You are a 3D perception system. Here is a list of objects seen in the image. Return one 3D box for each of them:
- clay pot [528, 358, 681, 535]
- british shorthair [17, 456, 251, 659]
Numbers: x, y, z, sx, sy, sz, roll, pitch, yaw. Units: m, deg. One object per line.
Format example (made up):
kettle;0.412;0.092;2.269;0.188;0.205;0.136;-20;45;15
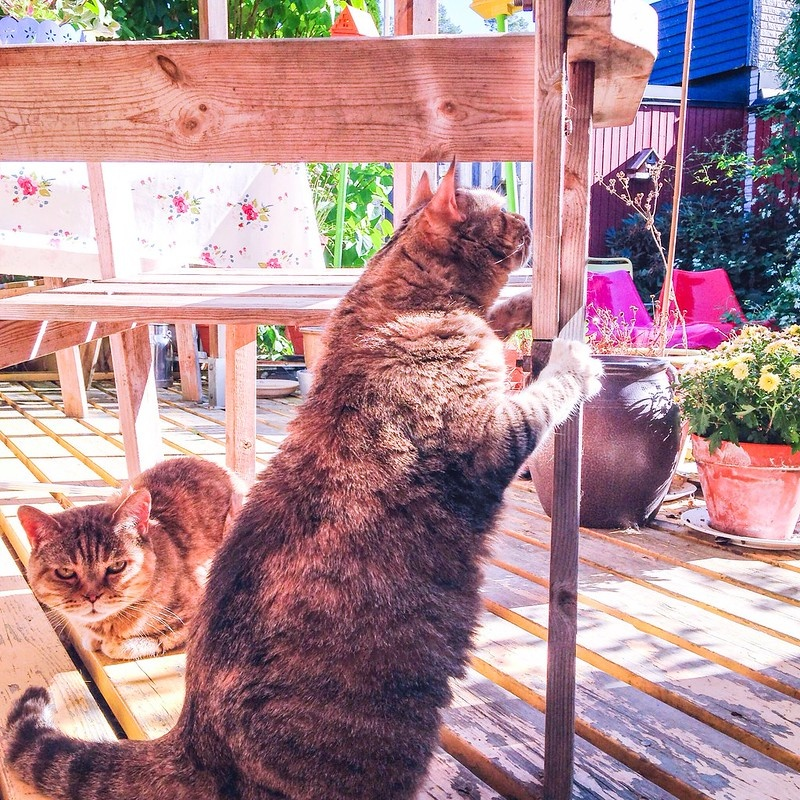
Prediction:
clay pot;0.662;0.098;2.718;0.560;0.513;0.493;1;12;-10
british shorthair;-0.583;0.341;2.042;0.349;0.328;0.695;-8;14;7
